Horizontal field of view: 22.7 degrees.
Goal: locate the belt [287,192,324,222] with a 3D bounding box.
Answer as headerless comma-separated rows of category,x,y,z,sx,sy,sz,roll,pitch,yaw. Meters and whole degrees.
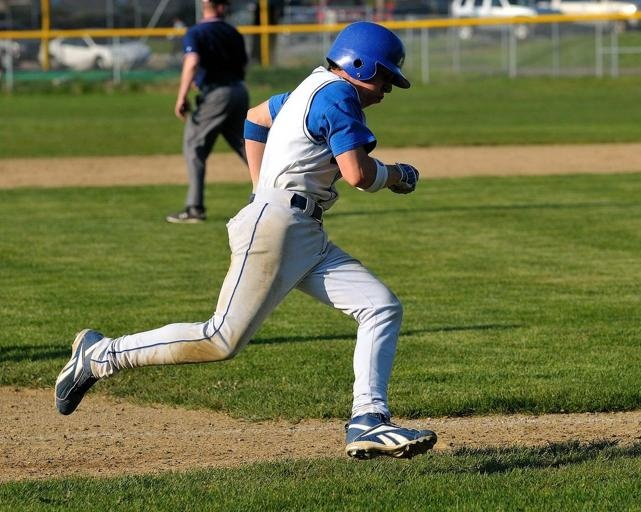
belt,-0.071,-0.266,9.278,0.167,0.062,0.172,33,6,-19

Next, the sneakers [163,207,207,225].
sneakers,-1.219,-0.366,14.378,0.371,0.151,0.134,2,5,12

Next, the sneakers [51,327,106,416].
sneakers,-1.459,0.731,9.759,0.248,0.597,0.206,24,0,17

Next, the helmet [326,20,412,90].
helmet,0.334,-1.203,9.423,0.490,0.279,0.333,15,16,-11
